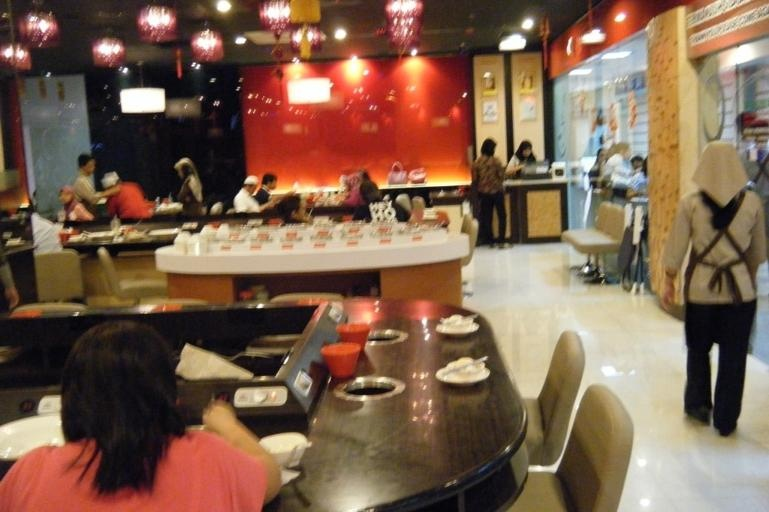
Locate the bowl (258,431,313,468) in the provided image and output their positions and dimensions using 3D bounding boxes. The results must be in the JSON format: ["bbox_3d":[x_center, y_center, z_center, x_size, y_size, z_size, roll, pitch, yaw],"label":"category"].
[{"bbox_3d":[-0.300,0.584,1.758,0.082,0.042,0.117,10,8,39],"label":"bowl"}]

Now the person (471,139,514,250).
[{"bbox_3d":[1.841,-1.077,10.076,0.533,1.910,0.570,-1,11,14],"label":"person"}]

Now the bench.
[{"bbox_3d":[2.874,-0.193,7.830,0.735,0.980,1.273,-3,10,9],"label":"bench"}]

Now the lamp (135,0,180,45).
[{"bbox_3d":[-3.304,-3.364,8.365,0.578,0.418,0.579,0,10,-2],"label":"lamp"}]

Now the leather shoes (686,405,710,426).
[{"bbox_3d":[2.073,1.044,3.763,0.137,0.093,0.080,16,13,43],"label":"leather shoes"}]

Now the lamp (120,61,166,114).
[{"bbox_3d":[-4.113,-2.754,9.613,0.614,0.688,0.617,0,3,-5],"label":"lamp"}]

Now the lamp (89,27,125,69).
[{"bbox_3d":[-4.530,-3.364,9.459,0.565,0.608,0.575,7,10,39],"label":"lamp"}]

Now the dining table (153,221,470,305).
[{"bbox_3d":[-0.600,0.117,5.100,2.653,0.760,0.702,-2,11,6],"label":"dining table"}]

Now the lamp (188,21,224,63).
[{"bbox_3d":[-2.905,-3.442,9.348,0.332,0.474,0.548,-12,14,-38],"label":"lamp"}]

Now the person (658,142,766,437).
[{"bbox_3d":[2.088,0.199,3.645,0.526,1.802,0.380,5,14,37],"label":"person"}]

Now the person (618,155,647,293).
[{"bbox_3d":[2.985,-0.375,6.862,0.232,1.587,0.601,-1,11,12],"label":"person"}]

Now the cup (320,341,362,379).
[{"bbox_3d":[-0.174,0.433,2.294,0.136,0.094,0.137,-3,-8,-1],"label":"cup"}]

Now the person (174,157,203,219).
[{"bbox_3d":[-3.011,-1.134,8.884,0.407,0.742,2.883,-7,12,-19],"label":"person"}]

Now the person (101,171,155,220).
[{"bbox_3d":[-3.532,-0.789,7.768,0.628,0.306,0.777,-22,42,-36],"label":"person"}]

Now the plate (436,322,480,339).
[{"bbox_3d":[0.352,0.330,2.641,0.215,0.055,0.146,-5,11,-5],"label":"plate"}]

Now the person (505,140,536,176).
[{"bbox_3d":[2.555,-1.808,10.639,0.659,0.717,0.464,2,9,-2],"label":"person"}]

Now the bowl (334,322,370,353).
[{"bbox_3d":[-0.142,0.354,2.516,0.122,0.090,0.121,-2,3,0],"label":"bowl"}]
